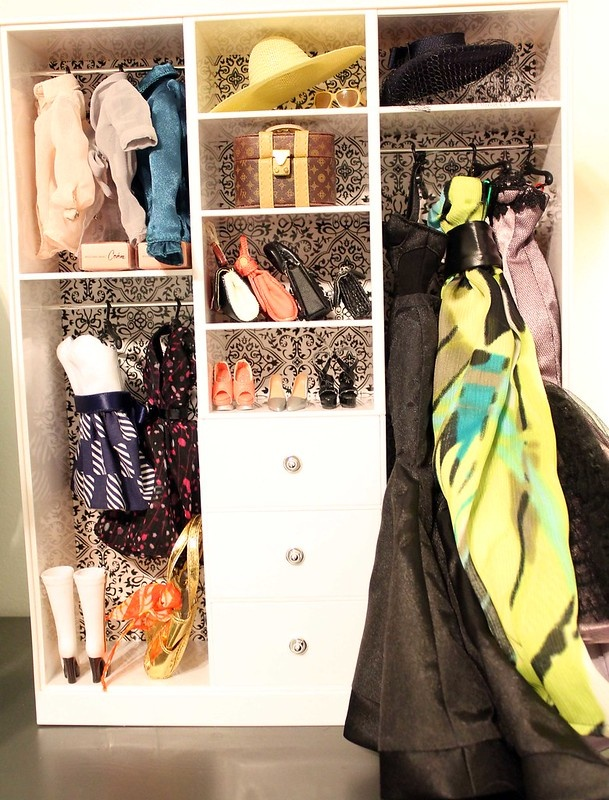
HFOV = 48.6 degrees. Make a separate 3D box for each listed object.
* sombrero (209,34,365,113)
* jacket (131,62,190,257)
[{"bbox_3d":[-0.027,-0.953,1.993,0.423,0.214,0.335,0,13,16],"label":"sombrero"},{"bbox_3d":[-0.413,-0.681,1.948,0.179,0.578,0.277,-6,12,-13],"label":"jacket"}]
